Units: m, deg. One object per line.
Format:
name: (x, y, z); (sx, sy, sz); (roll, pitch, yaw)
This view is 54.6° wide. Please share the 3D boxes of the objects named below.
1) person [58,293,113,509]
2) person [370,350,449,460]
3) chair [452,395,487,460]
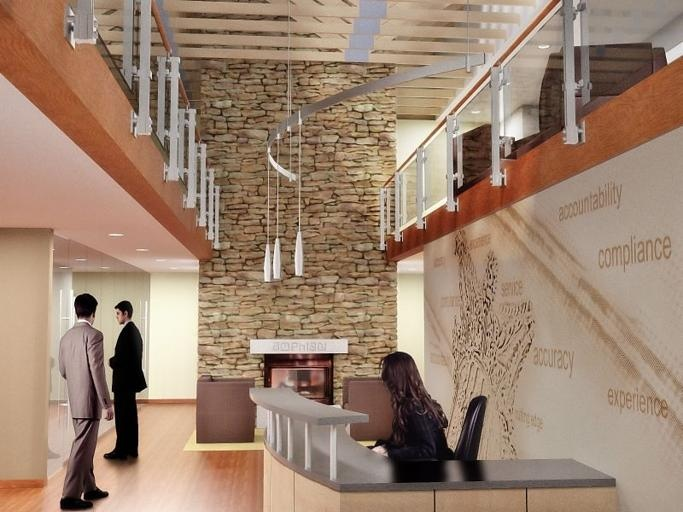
person: (-2.680, 1.485, 6.852); (0.460, 2.149, 0.575); (1, 1, -25)
person: (0.491, 1.222, 5.261); (0.656, 0.937, 0.651); (-5, 1, -13)
chair: (1.038, 1.386, 5.324); (0.235, 0.485, 0.424); (1, 1, 16)
